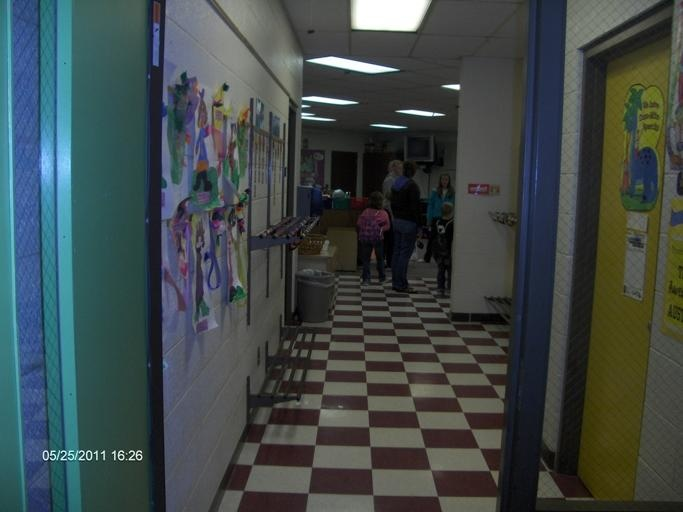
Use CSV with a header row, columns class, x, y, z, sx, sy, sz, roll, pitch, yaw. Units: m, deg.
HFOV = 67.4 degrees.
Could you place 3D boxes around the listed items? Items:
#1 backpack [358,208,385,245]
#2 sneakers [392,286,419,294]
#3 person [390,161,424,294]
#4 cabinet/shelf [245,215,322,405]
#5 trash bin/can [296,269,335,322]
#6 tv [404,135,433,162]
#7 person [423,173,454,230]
class,x,y,z,sx,sy,sz,roll,pitch,yaw
backpack,0.465,-0.490,7.725,0.476,0.537,0.291,9,13,13
sneakers,0.924,0.450,7.364,0.347,0.143,0.138,-3,4,-3
person,0.906,-0.415,7.328,0.448,1.857,0.442,2,8,6
cabinet/shelf,-0.487,0.425,4.581,0.437,1.367,2.503,-6,3,-1
trash bin/can,-0.284,0.424,5.778,0.419,0.560,0.459,-5,16,-34
tv,1.887,-2.567,12.337,0.642,0.650,0.685,1,4,9
person,1.655,-0.645,8.379,0.472,1.383,0.313,2,-2,8
